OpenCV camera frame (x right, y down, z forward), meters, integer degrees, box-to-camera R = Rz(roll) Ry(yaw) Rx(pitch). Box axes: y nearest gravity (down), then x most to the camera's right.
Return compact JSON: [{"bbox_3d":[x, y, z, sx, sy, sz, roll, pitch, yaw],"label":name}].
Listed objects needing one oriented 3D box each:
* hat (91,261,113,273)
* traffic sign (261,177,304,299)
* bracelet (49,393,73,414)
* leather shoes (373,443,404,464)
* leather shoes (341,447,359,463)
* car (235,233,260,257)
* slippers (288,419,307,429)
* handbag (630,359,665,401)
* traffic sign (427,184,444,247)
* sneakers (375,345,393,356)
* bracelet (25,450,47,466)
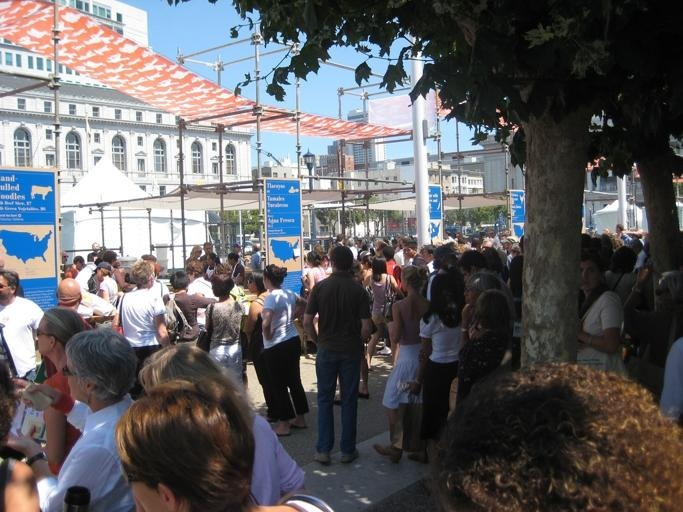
[{"bbox_3d":[-3.818,0.236,11.795,0.308,0.188,0.235,25,14,38],"label":"hat"},{"bbox_3d":[-0.935,-0.358,11.971,0.613,2.160,0.040,-2,-29,-7],"label":"traffic sign"},{"bbox_3d":[-1.647,0.876,4.340,0.111,0.095,0.111,10,-8,-31],"label":"bracelet"},{"bbox_3d":[0.460,1.880,6.962,0.273,0.206,0.093,34,24,35],"label":"leather shoes"},{"bbox_3d":[0.091,1.899,7.011,0.070,0.100,0.220,2,4,29],"label":"leather shoes"},{"bbox_3d":[-3.752,-0.518,29.530,1.159,1.184,1.905,-1,-5,-7],"label":"car"},{"bbox_3d":[-0.459,1.830,8.018,0.080,0.089,0.202,3,1,-30],"label":"slippers"},{"bbox_3d":[2.426,0.939,5.860,0.272,0.148,0.746,4,6,25],"label":"handbag"},{"bbox_3d":[1.852,-0.831,14.510,0.103,1.640,1.342,-1,0,20],"label":"traffic sign"},{"bbox_3d":[0.711,1.549,11.978,0.301,0.139,0.099,7,-11,-43],"label":"sneakers"},{"bbox_3d":[-1.661,1.126,4.012,0.092,0.058,0.096,-26,-23,7],"label":"bracelet"}]
